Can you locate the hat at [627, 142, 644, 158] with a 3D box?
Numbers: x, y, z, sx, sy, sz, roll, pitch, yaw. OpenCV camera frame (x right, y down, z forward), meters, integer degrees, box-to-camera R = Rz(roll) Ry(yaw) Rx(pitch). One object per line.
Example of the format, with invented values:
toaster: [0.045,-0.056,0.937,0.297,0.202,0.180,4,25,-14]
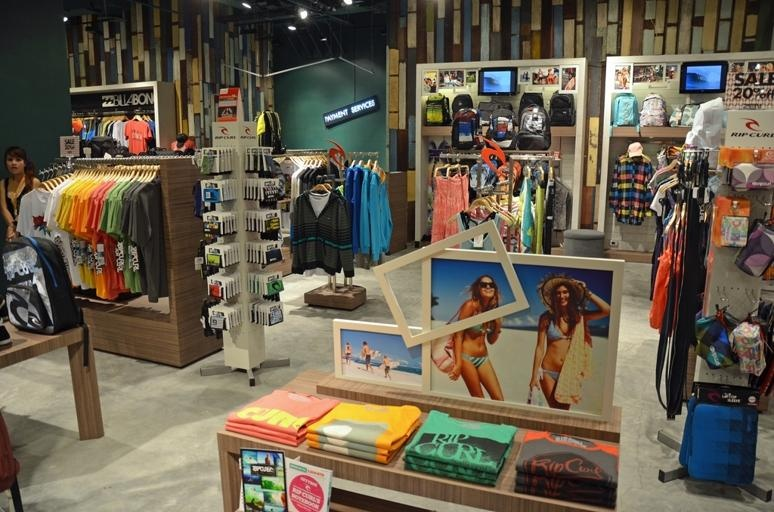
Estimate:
hat: [3.915,-1.678,8.514,0.202,0.288,0.105,0,-3,20]

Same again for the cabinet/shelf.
cabinet/shelf: [-1.332,-0.131,4.992,0.806,1.727,0.429,-4,13,-12]

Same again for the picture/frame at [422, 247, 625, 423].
picture/frame: [0.756,0.454,3.032,0.959,0.791,0.046,4,5,15]
